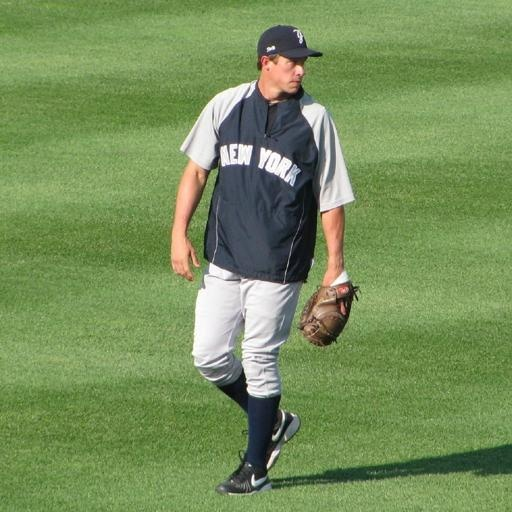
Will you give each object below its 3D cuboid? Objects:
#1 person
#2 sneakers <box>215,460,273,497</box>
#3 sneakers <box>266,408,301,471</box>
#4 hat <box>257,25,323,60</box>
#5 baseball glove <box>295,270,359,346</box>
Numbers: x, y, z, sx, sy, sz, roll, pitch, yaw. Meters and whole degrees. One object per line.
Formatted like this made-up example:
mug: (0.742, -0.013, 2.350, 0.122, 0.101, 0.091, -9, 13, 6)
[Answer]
person: (0.070, 0.025, 8.576, 1.128, 3.177, 1.055, 7, 17, 12)
sneakers: (-0.073, 1.514, 8.643, 0.464, 0.235, 0.191, -1, -1, -38)
sneakers: (0.185, 1.250, 8.909, 0.144, 0.487, 0.215, 11, -25, 22)
hat: (0.226, -1.427, 8.445, 0.462, 0.265, 0.325, -1, -1, 34)
baseball glove: (0.481, 0.362, 8.600, 0.209, 0.438, 0.521, 12, -17, -26)
